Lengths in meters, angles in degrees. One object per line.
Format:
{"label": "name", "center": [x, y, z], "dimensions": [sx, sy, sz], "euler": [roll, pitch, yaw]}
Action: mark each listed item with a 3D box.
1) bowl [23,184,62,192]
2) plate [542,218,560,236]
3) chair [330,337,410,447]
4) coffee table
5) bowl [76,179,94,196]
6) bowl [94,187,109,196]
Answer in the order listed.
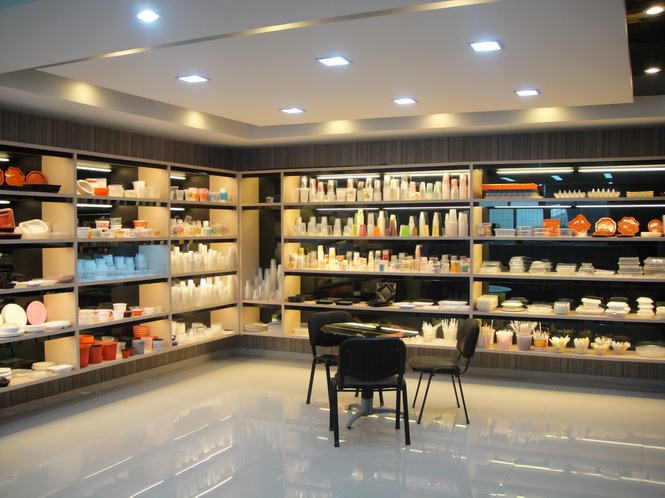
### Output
{"label": "bowl", "center": [-3.279, -0.694, 5.604], "dimensions": [0.068, 0.093, 0.373], "euler": [2, 4, 34]}
{"label": "plate", "center": [3.007, -0.293, 6.837], "dimensions": [0.258, 0.213, 0.439], "euler": [6, 1, 11]}
{"label": "chair", "center": [0.375, 1.383, 5.030], "dimensions": [0.816, 1.096, 0.527], "euler": [0, 4, -1]}
{"label": "coffee table", "center": [0.312, 1.401, 5.650], "dimensions": [1.208, 0.891, 1.146], "euler": [-2, 4, -36]}
{"label": "bowl", "center": [-3.034, -0.755, 6.103], "dimensions": [0.163, 0.188, 0.210], "euler": [-21, -11, 27]}
{"label": "bowl", "center": [-2.877, -0.718, 6.216], "dimensions": [0.188, 0.127, 0.116], "euler": [-3, 5, -39]}
